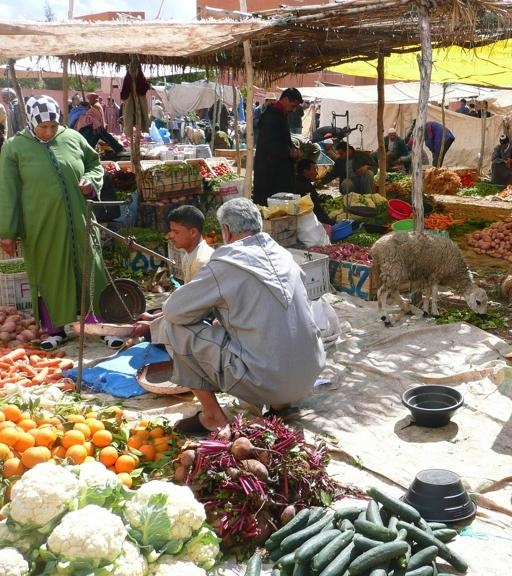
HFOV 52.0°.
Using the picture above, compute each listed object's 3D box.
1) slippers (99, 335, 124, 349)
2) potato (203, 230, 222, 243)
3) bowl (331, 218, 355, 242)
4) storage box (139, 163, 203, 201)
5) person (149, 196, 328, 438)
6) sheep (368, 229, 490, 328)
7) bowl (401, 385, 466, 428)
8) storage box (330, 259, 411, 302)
[{"bbox_3d":[-1.370,0.500,4.959,0.288,0.085,0.177,10,13,34],"label":"slippers"},{"bbox_3d":[-0.635,-0.727,7.505,0.252,0.138,0.286,3,-23,9],"label":"potato"},{"bbox_3d":[1.231,-0.837,7.607,0.356,0.154,0.339,-18,13,4],"label":"bowl"},{"bbox_3d":[-1.189,-1.501,7.470,0.630,0.472,1.206,8,19,43],"label":"storage box"},{"bbox_3d":[-0.103,0.185,3.134,1.014,1.419,0.444,1,14,5],"label":"person"},{"bbox_3d":[1.787,-0.127,5.530,1.132,0.925,0.584,-2,13,-7],"label":"sheep"},{"bbox_3d":[1.181,0.805,3.519,0.393,0.221,0.368,0,12,0],"label":"bowl"},{"bbox_3d":[1.364,-0.257,6.560,0.819,0.399,0.629,17,20,41],"label":"storage box"}]
